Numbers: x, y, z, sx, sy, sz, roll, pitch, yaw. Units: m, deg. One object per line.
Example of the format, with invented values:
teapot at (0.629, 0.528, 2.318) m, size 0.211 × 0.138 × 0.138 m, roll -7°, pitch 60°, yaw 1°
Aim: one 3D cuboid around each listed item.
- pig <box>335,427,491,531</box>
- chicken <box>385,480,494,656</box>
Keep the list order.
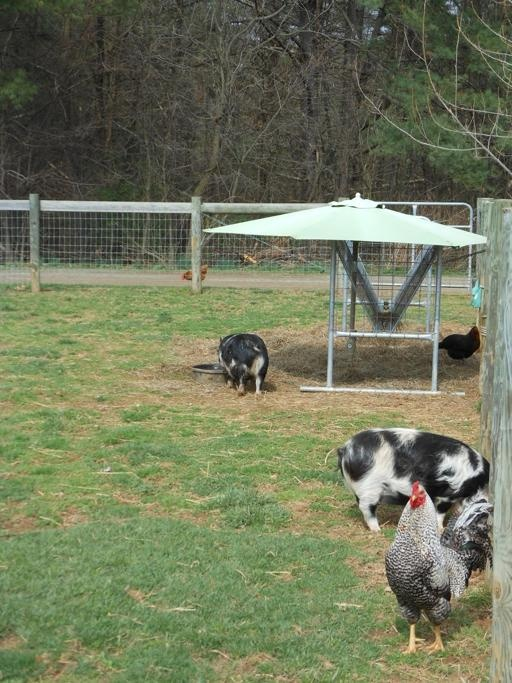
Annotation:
pig at (0.964, 0.824, 5.416) m, size 1.095 × 0.608 × 0.475 m, roll 0°, pitch 8°, yaw 18°
chicken at (0.924, 1.065, 4.419) m, size 0.315 × 0.834 × 0.644 m, roll 10°, pitch 14°, yaw 39°
